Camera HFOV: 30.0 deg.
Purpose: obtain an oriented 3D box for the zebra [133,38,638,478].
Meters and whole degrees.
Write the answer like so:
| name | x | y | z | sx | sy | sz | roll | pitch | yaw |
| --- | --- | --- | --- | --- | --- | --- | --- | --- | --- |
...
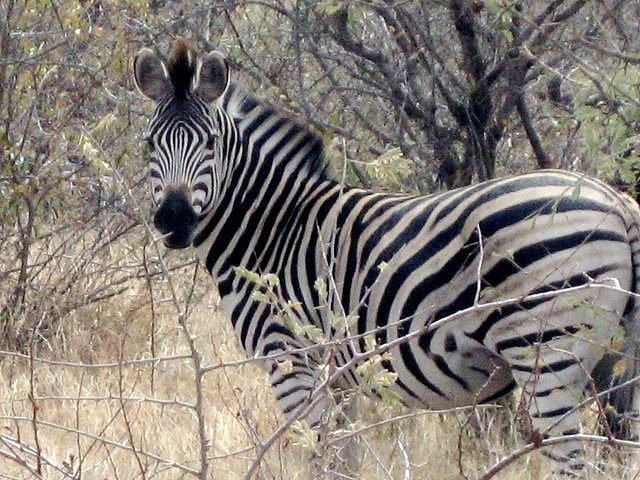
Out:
| name | x | y | z | sx | sy | sz | roll | pitch | yaw |
| --- | --- | --- | --- | --- | --- | --- | --- | --- | --- |
| zebra | 0.413 | 0.158 | 6.775 | 2.734 | 2.518 | 1.517 | -8 | -31 | 13 |
